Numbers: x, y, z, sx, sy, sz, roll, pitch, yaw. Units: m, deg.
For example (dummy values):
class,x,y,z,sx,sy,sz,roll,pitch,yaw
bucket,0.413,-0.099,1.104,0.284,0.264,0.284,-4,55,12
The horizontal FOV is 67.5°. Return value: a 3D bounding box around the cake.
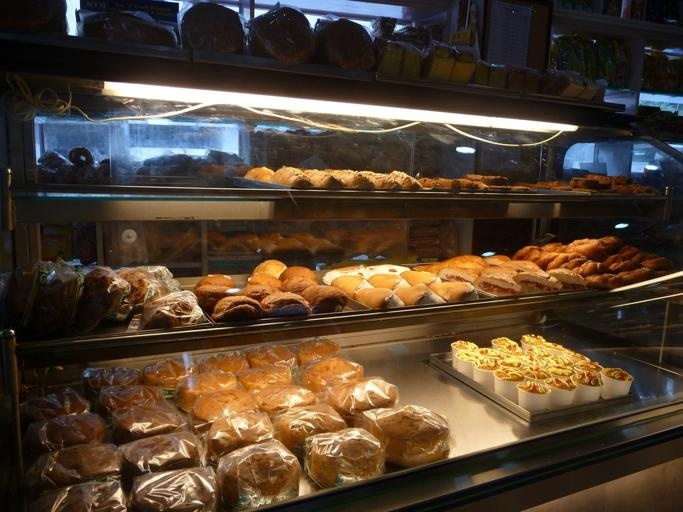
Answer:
class,x,y,z,sx,sy,sz,roll,pitch,yaw
cake,0.948,0.537,2.446,0.747,0.210,0.505,-4,6,-22
